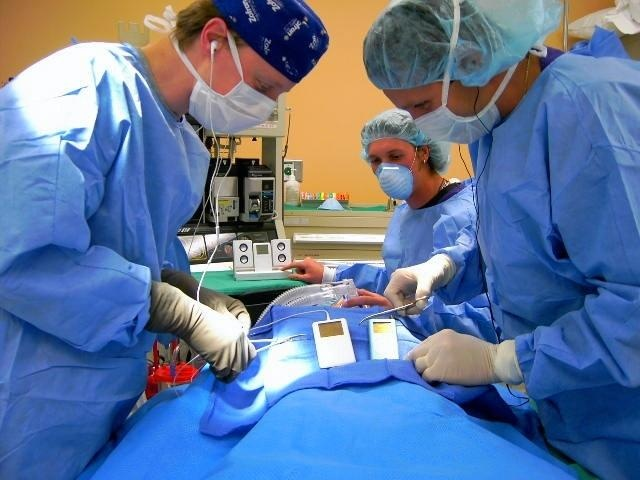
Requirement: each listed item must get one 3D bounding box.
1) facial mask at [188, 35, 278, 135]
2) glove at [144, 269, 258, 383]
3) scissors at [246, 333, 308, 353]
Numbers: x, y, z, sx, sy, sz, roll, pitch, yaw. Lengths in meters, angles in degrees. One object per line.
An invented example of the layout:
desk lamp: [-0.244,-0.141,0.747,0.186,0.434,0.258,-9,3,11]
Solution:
facial mask: [-0.294,-0.481,1.827,0.182,0.304,0.238,-16,3,28]
glove: [-0.373,0.326,1.736,0.338,0.134,0.344,28,18,-45]
scissors: [-0.150,0.369,1.951,0.224,0.081,0.014,-10,-34,-10]
